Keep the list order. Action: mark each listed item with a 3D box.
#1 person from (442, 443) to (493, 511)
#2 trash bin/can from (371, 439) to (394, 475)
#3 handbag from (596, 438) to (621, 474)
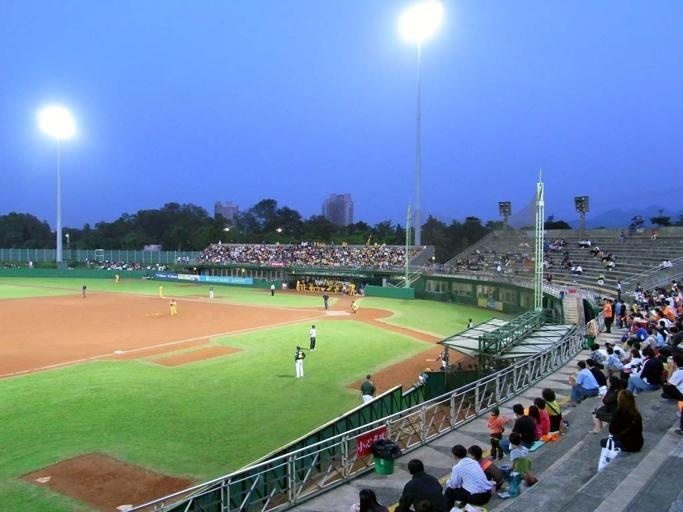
[{"bbox_3d":[2.835,4.983,12.366,0.976,1.303,0.412,0,0,11],"label":"person"},{"bbox_3d":[1.079,5.201,14.187,0.588,0.914,0.418,0,0,2],"label":"trash bin/can"},{"bbox_3d":[6.185,4.612,12.822,0.837,0.770,0.500,-1,1,-44],"label":"handbag"}]
